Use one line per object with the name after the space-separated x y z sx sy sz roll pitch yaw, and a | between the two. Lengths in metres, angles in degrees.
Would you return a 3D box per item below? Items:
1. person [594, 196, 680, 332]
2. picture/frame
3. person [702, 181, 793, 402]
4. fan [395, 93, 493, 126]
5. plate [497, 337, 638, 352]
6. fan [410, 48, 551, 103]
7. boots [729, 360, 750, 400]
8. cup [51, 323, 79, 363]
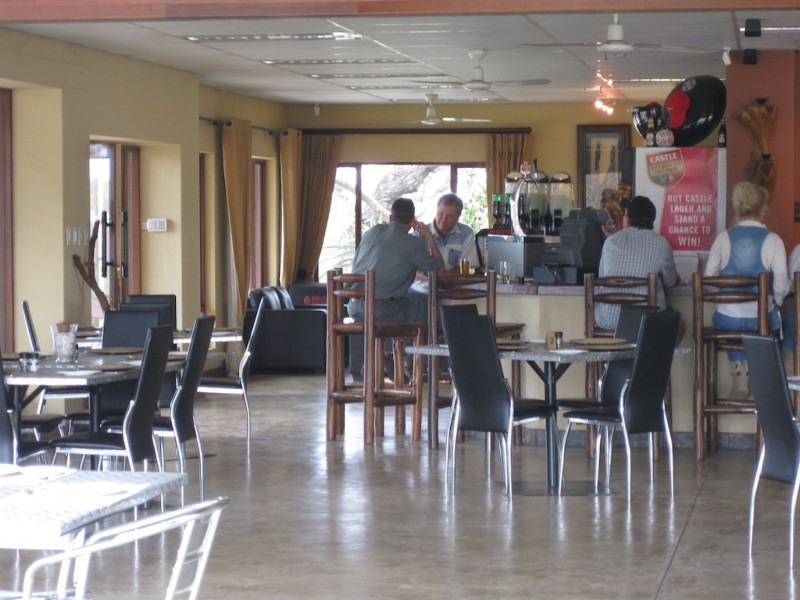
1.879 -0.390 8.459 0.616 0.856 0.518 1 5 13 | person
2.858 -1.897 15.027 0.749 1.163 0.224 0 5 4 | picture/frame
2.681 -0.057 8.269 0.625 1.698 0.611 1 5 19 | person
0.724 -2.705 14.810 0.729 0.279 0.778 0 4 23 | fan
1.119 0.290 7.219 0.909 0.049 0.695 0 5 3 | plate
0.799 -2.576 12.249 0.950 0.381 1.003 0 0 35 | fan
2.708 0.666 8.544 0.153 0.356 0.354 0 16 11 | boots
-2.216 0.293 7.141 0.209 0.309 0.210 0 -10 0 | cup
